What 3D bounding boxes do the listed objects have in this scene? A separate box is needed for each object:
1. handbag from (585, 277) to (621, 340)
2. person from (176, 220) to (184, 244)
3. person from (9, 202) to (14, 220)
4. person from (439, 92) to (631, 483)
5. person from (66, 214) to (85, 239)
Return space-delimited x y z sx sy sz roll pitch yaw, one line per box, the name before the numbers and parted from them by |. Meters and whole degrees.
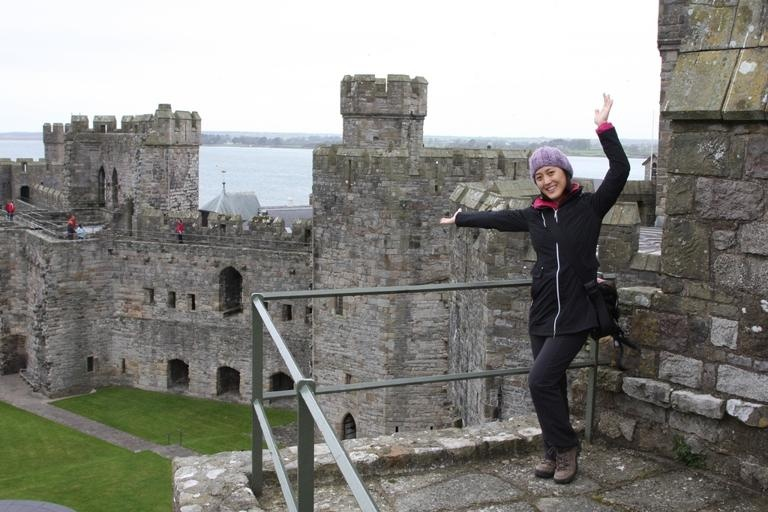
handbag | 1.607 0.390 5.080 0.201 0.483 0.368 4 7 25
person | -7.981 -0.976 27.269 0.421 0.845 0.213 4 7 25
person | -16.893 -2.026 31.497 0.272 0.746 1.809 -2 7 -29
person | 1.244 0.349 5.132 0.956 2.563 0.514 3 6 15
person | -12.600 -1.159 28.356 0.582 0.766 1.292 -2 6 -24
